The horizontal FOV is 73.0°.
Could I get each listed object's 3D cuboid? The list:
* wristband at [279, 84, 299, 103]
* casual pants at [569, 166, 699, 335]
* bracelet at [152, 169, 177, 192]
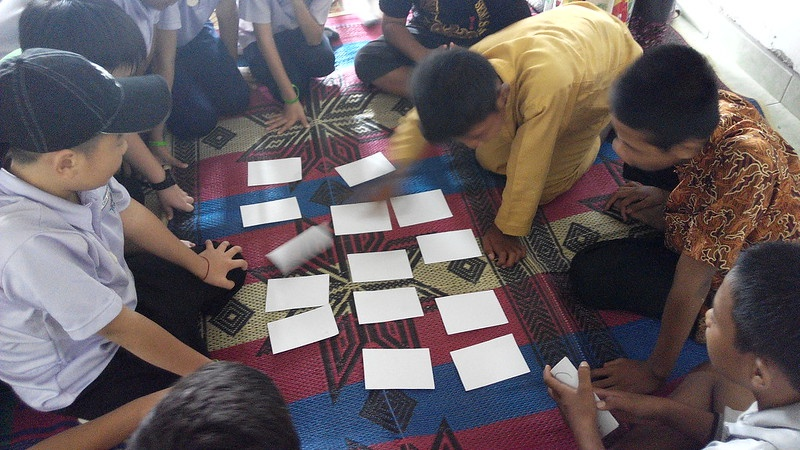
[{"bbox_3d":[-0.815,-0.942,3.956,0.136,0.162,0.081,-4,26,-5],"label":"wristband"},{"bbox_3d":[1.350,0.176,3.076,0.540,0.810,0.506,20,73,16],"label":"casual pants"},{"bbox_3d":[-1.514,-0.285,3.468,0.148,0.144,0.059,-31,84,-1],"label":"bracelet"}]
